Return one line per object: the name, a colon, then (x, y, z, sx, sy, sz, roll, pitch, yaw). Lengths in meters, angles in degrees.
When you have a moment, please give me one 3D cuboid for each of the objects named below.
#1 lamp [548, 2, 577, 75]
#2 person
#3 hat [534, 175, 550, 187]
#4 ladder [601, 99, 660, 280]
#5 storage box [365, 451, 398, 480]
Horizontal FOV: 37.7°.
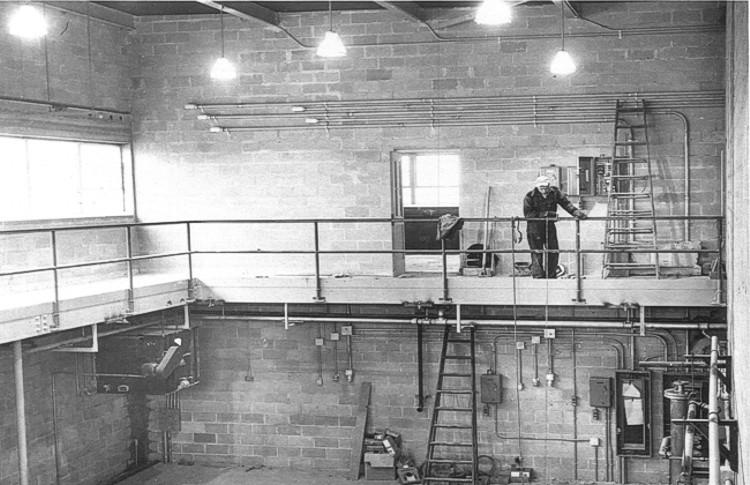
lamp: (2.840, -3.117, 16.690, 0.411, 1.285, 1.485, 1, -2, 9)
person: (2.667, -0.238, 16.752, 0.833, 1.567, 1.553, 1, -2, 7)
hat: (2.545, -0.931, 16.779, 0.201, 0.176, 0.247, 0, -2, 9)
ladder: (3.948, -0.852, 16.953, 0.849, 2.766, 0.862, 1, -2, 11)
storage box: (0.079, 3.518, 17.416, 0.524, 0.310, 0.452, 0, -2, 3)
